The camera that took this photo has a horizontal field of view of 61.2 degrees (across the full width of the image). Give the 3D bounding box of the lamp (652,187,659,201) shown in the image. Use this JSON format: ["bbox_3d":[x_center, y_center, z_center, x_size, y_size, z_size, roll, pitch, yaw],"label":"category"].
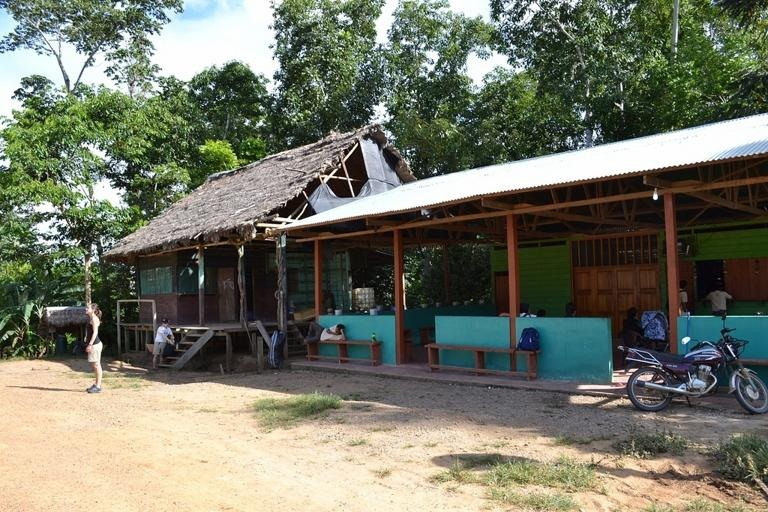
[{"bbox_3d":[6.165,-1.439,14.742,0.124,0.215,0.424,2,12,24],"label":"lamp"}]

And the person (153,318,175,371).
[{"bbox_3d":[-7.727,2.946,22.477,0.769,1.581,0.821,-8,12,-18],"label":"person"}]

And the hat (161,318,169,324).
[{"bbox_3d":[-8.058,2.321,23.798,0.251,0.170,0.336,7,4,-40],"label":"hat"}]

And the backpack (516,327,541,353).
[{"bbox_3d":[3.598,2.051,16.119,0.532,0.494,0.289,-10,-27,38],"label":"backpack"}]

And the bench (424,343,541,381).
[{"bbox_3d":[2.432,2.724,16.889,2.992,0.684,0.329,5,-9,-9],"label":"bench"}]

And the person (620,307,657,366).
[{"bbox_3d":[6.538,1.899,17.250,0.809,1.063,0.812,-21,3,-11],"label":"person"}]

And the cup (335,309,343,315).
[{"bbox_3d":[-1.441,1.720,20.254,0.188,0.179,0.189,0,-2,0],"label":"cup"}]
